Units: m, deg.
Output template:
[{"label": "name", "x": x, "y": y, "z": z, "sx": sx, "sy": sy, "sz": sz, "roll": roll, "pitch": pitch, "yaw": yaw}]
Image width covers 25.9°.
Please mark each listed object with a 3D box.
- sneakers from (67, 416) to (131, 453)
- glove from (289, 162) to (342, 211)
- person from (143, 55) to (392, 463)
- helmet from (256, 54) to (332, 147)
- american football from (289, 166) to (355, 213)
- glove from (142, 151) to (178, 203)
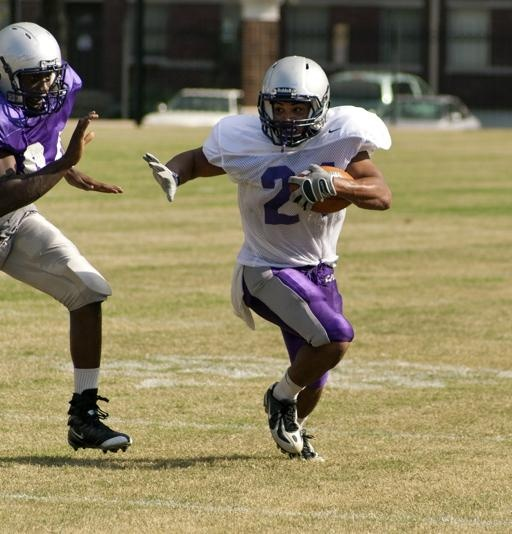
[{"label": "sneakers", "x": -0.580, "y": 0.612, "z": 4.115, "sx": 0.332, "sy": 0.133, "sz": 0.114, "roll": -3, "pitch": -8, "yaw": 41}, {"label": "glove", "x": 0.204, "y": -0.280, "z": 3.857, "sx": 0.231, "sy": 0.129, "sz": 0.091, "roll": 6, "pitch": -35, "yaw": -1}, {"label": "person", "x": 0.072, "y": -0.032, "z": 4.186, "sx": 0.796, "sy": 1.480, "sz": 0.626, "roll": 7, "pitch": 17, "yaw": 22}, {"label": "helmet", "x": 0.146, "y": -0.617, "z": 4.169, "sx": 0.257, "sy": 0.323, "sz": 0.333, "roll": 6, "pitch": 15, "yaw": 20}, {"label": "american football", "x": 0.291, "y": -0.275, "z": 4.046, "sx": 0.236, "sy": 0.114, "sz": 0.172, "roll": -17, "pitch": 7, "yaw": -34}, {"label": "glove", "x": -0.301, "y": -0.311, "z": 4.005, "sx": 0.087, "sy": 0.185, "sz": 0.128, "roll": -40, "pitch": 31, "yaw": -14}]
